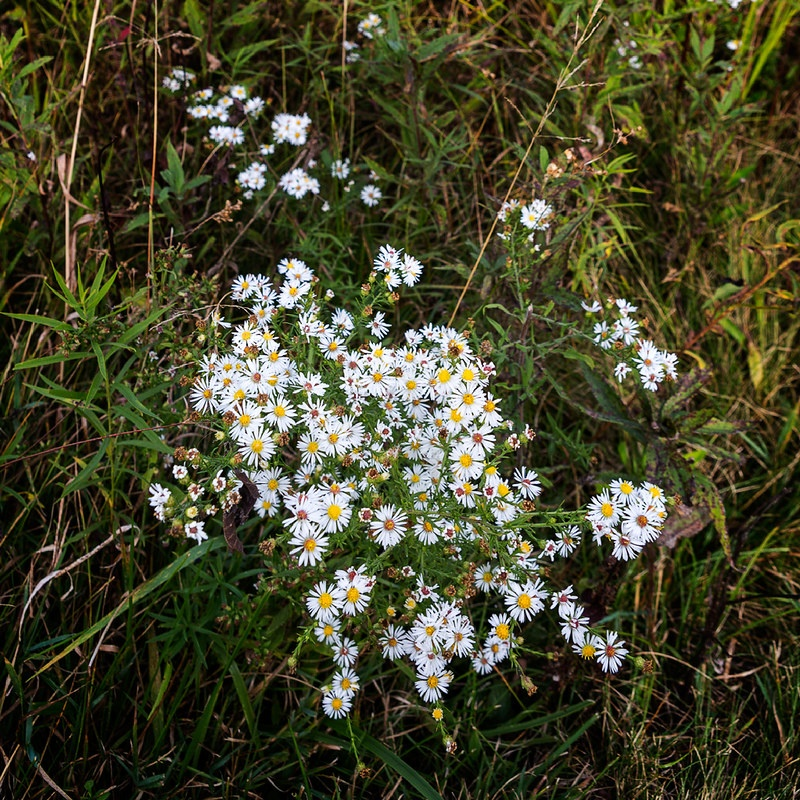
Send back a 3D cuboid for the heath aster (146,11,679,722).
[{"bbox_3d":[0.064,0.094,3.119,1.581,0.762,1.827,38,55,-2],"label":"heath aster"}]
